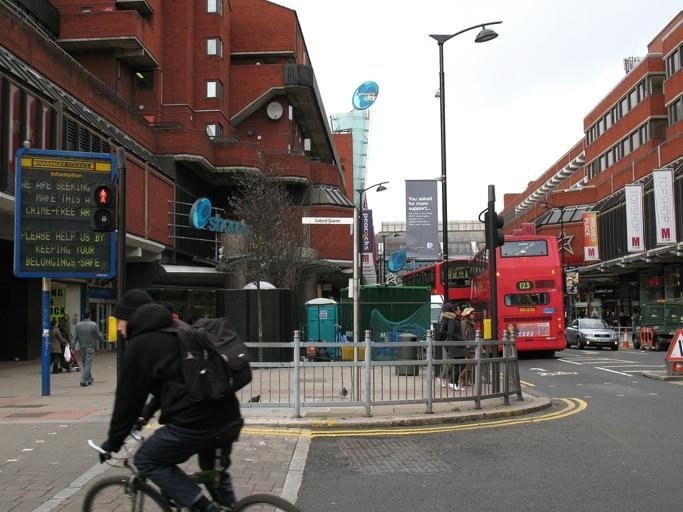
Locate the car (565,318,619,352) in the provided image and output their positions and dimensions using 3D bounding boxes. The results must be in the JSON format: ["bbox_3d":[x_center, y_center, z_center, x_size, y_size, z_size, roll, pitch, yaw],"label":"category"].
[{"bbox_3d":[11.963,3.748,38.133,1.150,0.950,2.726,0,-11,1],"label":"car"}]

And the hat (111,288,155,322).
[{"bbox_3d":[-2.132,0.493,7.933,0.338,0.255,0.273,2,5,-11],"label":"hat"}]

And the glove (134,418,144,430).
[{"bbox_3d":[-2.106,1.748,8.150,0.027,0.121,0.127,18,-29,11],"label":"glove"}]

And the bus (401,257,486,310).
[{"bbox_3d":[5.056,1.367,40.242,1.522,1.833,5.552,1,-6,-12],"label":"bus"}]

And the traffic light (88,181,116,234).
[{"bbox_3d":[-4.676,-0.955,15.341,0.437,0.921,0.270,-1,4,-20],"label":"traffic light"}]

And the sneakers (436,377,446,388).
[{"bbox_3d":[1.977,2.483,15.526,0.212,0.184,0.111,-2,5,-35],"label":"sneakers"}]

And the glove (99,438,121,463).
[{"bbox_3d":[-2.304,1.959,7.864,0.096,0.274,0.177,20,-5,-36],"label":"glove"}]
